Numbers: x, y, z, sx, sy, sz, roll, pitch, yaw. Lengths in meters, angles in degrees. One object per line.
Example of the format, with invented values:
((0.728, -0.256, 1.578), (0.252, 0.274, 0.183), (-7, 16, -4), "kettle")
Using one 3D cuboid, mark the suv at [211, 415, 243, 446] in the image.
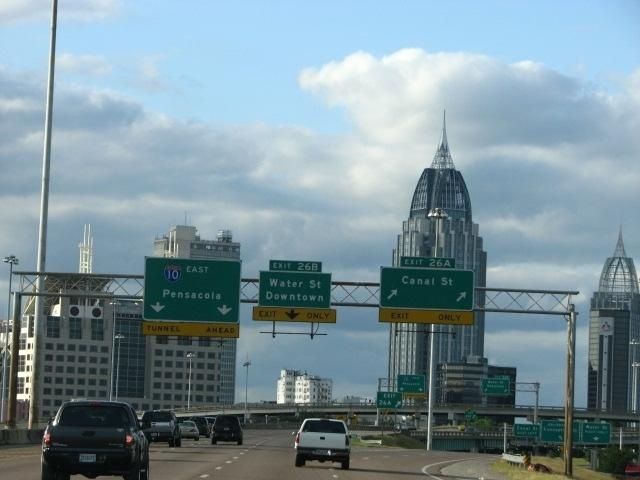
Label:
((-9.844, 19.941, 150.428), (3.161, 3.011, 2.061), (3, -6, -18), "suv")
